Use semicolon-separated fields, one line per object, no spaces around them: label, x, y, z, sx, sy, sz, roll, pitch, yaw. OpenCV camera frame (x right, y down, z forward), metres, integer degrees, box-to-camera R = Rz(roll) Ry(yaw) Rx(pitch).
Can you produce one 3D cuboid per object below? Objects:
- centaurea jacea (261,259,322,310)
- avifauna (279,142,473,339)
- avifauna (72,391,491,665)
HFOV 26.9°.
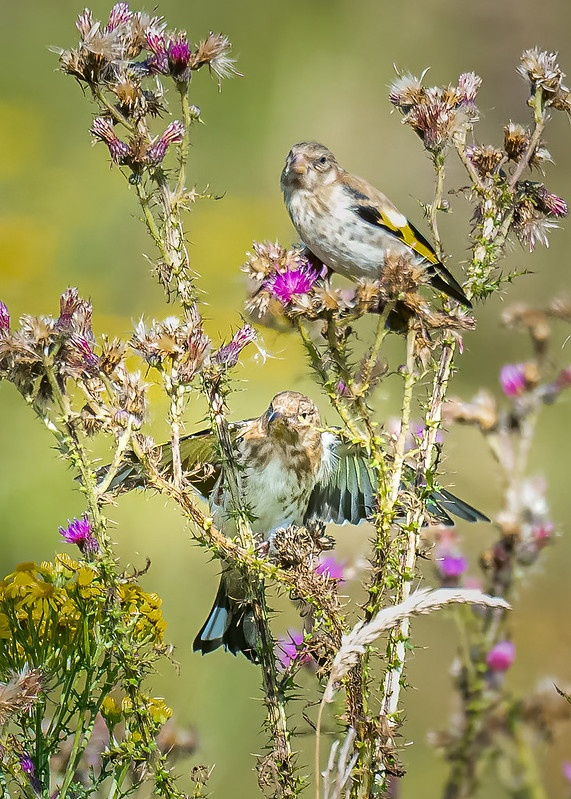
centaurea jacea;0.007;-0.140;1.371;0.062;0.064;0.035;-23;-76;34
avifauna;0.127;-0.247;1.770;0.130;0.413;0.196;-4;-93;48
avifauna;0.051;0.133;1.861;0.489;0.339;0.204;14;-83;-15
